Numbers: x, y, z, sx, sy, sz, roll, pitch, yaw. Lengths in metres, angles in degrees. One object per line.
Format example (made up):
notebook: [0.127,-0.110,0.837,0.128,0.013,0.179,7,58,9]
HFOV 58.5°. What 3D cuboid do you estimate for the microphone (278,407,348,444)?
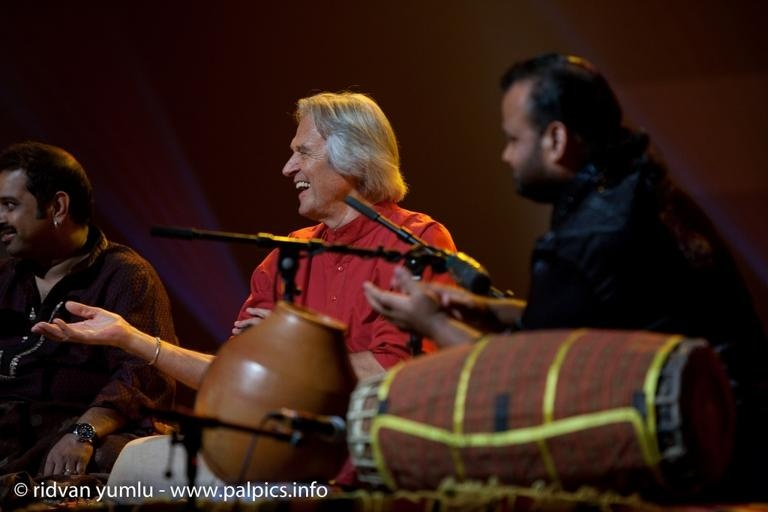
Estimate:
microphone: [-0.252,0.507,2.105,0.269,0.094,0.088,6,15,7]

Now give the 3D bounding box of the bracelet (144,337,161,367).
bracelet: [-1.047,0.433,3.101,0.060,0.121,0.105,13,-24,-17]
